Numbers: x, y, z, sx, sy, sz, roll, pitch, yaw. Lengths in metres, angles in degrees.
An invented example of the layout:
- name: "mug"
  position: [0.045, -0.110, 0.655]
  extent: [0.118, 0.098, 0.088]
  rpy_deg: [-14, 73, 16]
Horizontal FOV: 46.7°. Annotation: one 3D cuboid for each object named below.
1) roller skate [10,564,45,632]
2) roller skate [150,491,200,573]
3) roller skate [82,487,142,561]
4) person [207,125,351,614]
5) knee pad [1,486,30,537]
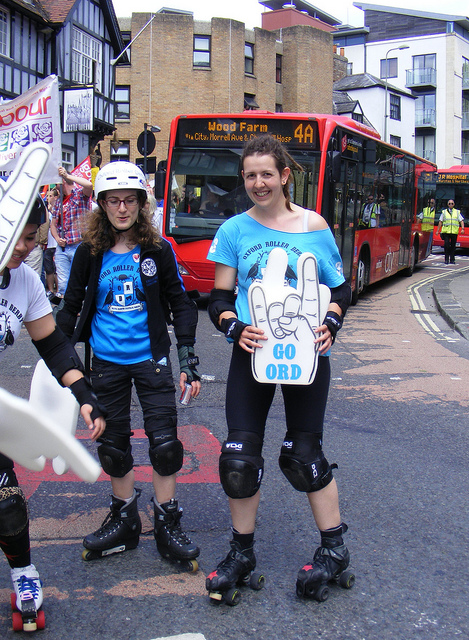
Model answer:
- name: "roller skate"
  position: [-0.679, 0.918, 1.798]
  extent: [0.098, 0.212, 0.170]
  rpy_deg: [2, 0, -23]
- name: "roller skate"
  position: [-0.264, 0.915, 2.374]
  extent: [0.110, 0.271, 0.331]
  rpy_deg: [-1, 3, -39]
- name: "roller skate"
  position: [-0.547, 0.920, 2.434]
  extent: [0.128, 0.293, 0.258]
  rpy_deg: [1, 0, 32]
- name: "person"
  position: [0.189, 0.152, 2.240]
  extent: [0.593, 1.616, 0.694]
  rpy_deg: [1, 0, 12]
- name: "knee pad"
  position: [-0.696, 0.602, 1.717]
  extent: [0.107, 0.141, 0.060]
  rpy_deg: [-25, -33, 2]
